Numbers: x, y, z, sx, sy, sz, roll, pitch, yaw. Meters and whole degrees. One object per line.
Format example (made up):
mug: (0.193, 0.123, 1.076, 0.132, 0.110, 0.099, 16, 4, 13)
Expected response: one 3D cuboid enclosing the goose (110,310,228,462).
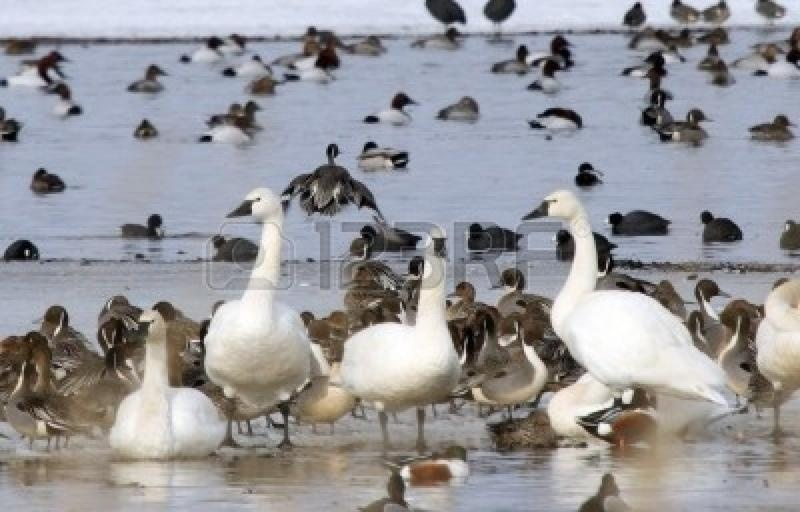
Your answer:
goose: (-3.530, 1.909, 25.573, 1.647, 2.215, 0.474, -5, 11, -9)
